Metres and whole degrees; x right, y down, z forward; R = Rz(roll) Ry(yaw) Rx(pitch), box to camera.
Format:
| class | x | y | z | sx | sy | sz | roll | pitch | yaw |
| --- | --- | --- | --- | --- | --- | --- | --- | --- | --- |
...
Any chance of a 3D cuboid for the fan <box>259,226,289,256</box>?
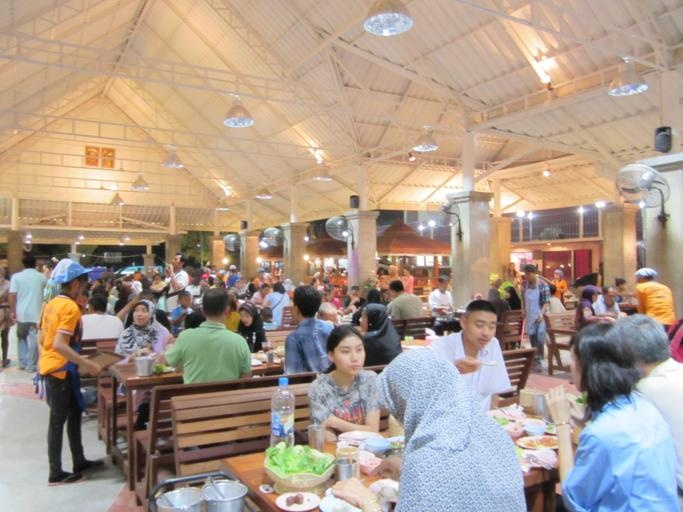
| class | x | y | z | sx | sy | sz | roll | pitch | yaw |
| --- | --- | --- | --- | --- | --- | --- | --- | --- | --- |
| fan | -2.869 | -0.593 | 21.867 | 1.047 | 1.001 | 4.480 | -13 | 9 | -8 |

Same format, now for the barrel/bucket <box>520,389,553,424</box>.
| class | x | y | z | sx | sy | sz | roll | pitch | yaw |
| --- | --- | --- | --- | --- | --- | --- | --- | --- | --- |
| barrel/bucket | 1.525 | 1.142 | 4.148 | 0.159 | 0.127 | 0.192 | -1 | -5 | -1 |

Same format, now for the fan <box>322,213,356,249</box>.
| class | x | y | z | sx | sy | sz | roll | pitch | yaw |
| --- | --- | --- | --- | --- | --- | --- | --- | --- | --- |
| fan | 0.070 | -0.852 | 17.077 | 1.000 | 0.580 | 1.196 | 18 | -8 | -31 |

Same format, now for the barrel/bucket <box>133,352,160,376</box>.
| class | x | y | z | sx | sy | sz | roll | pitch | yaw |
| --- | --- | --- | --- | --- | --- | --- | --- | --- | --- |
| barrel/bucket | -1.863 | 1.031 | 5.072 | 0.238 | 0.153 | 0.201 | -1 | -2 | -15 |

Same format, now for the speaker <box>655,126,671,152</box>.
| class | x | y | z | sx | sy | sz | roll | pitch | yaw |
| --- | --- | --- | --- | --- | --- | --- | --- | --- | --- |
| speaker | 5.142 | -1.858 | 8.486 | 0.238 | 0.404 | 0.436 | -6 | 11 | 31 |

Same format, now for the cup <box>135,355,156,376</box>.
| class | x | y | z | sx | sy | sz | roll | pitch | yaw |
| --- | --- | --- | --- | --- | --- | --- | --- | --- | --- |
| cup | -1.861 | 1.041 | 5.065 | 0.216 | 0.139 | 0.179 | -2 | -2 | -2 |

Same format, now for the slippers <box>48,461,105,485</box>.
| class | x | y | z | sx | sy | sz | roll | pitch | yaw |
| --- | --- | --- | --- | --- | --- | --- | --- | --- | --- |
| slippers | -2.577 | 2.087 | 5.178 | 0.442 | 0.147 | 0.142 | -10 | -4 | -29 |

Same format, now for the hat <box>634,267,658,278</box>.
| class | x | y | z | sx | sy | sz | roll | pitch | yaw |
| --- | --- | --- | --- | --- | --- | --- | --- | --- | --- |
| hat | 3.950 | 0.211 | 6.879 | 0.198 | 0.062 | 0.174 | -9 | 9 | -33 |

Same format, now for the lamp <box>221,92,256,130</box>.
| class | x | y | z | sx | sy | sz | roll | pitch | yaw |
| --- | --- | --- | --- | --- | --- | --- | --- | --- | --- |
| lamp | -2.344 | -3.211 | 11.810 | 0.537 | 0.638 | 0.812 | -12 | 9 | -3 |

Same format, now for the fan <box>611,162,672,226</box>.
| class | x | y | z | sx | sy | sz | roll | pitch | yaw |
| --- | --- | --- | --- | --- | --- | --- | --- | --- | --- |
| fan | 3.918 | -0.797 | 6.897 | 0.588 | 0.849 | 0.308 | -6 | 12 | 29 |

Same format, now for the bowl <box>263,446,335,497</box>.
| class | x | y | z | sx | sy | sz | roll | pitch | yaw |
| --- | --- | --- | --- | --- | --- | --- | --- | --- | --- |
| bowl | -0.266 | 1.241 | 3.099 | 0.440 | 0.171 | 0.390 | 4 | 4 | 11 |

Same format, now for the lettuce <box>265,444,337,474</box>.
| class | x | y | z | sx | sy | sz | roll | pitch | yaw |
| --- | --- | --- | --- | --- | --- | --- | --- | --- | --- |
| lettuce | -0.265 | 1.124 | 3.054 | 0.213 | 0.081 | 0.223 | 1 | -2 | 25 |

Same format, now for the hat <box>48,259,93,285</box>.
| class | x | y | z | sx | sy | sz | roll | pitch | yaw |
| --- | --- | --- | --- | --- | --- | --- | --- | --- | --- |
| hat | -2.587 | 0.155 | 5.135 | 0.251 | 0.139 | 0.352 | 16 | 28 | 34 |
